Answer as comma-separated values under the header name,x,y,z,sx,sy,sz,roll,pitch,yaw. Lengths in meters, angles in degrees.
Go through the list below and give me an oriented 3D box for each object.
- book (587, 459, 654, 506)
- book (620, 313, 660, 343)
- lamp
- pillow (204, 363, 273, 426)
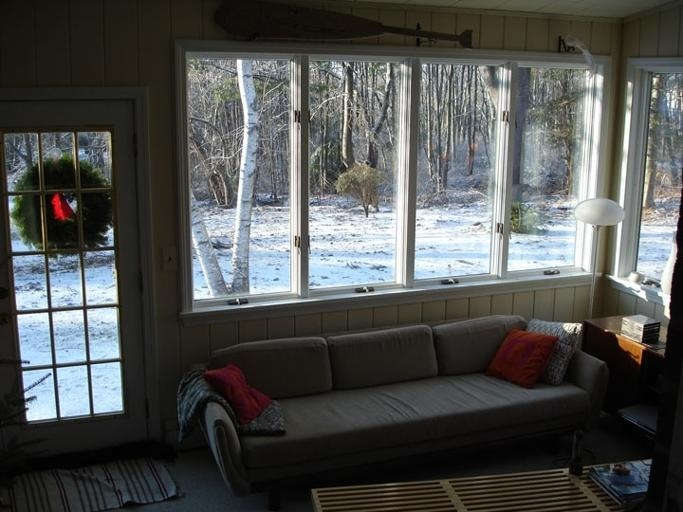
name,x,y,z,sx,sy,sz,roll,pitch,yaw
book,1.668,1.274,3.269,0.373,0.121,0.313,-8,13,-25
book,2.339,0.571,4.405,0.210,0.129,0.206,-1,9,-27
lamp,2.188,0.051,4.837,0.356,1.132,0.652,2,13,23
pillow,-0.697,0.893,3.742,0.336,0.301,0.328,2,13,20
